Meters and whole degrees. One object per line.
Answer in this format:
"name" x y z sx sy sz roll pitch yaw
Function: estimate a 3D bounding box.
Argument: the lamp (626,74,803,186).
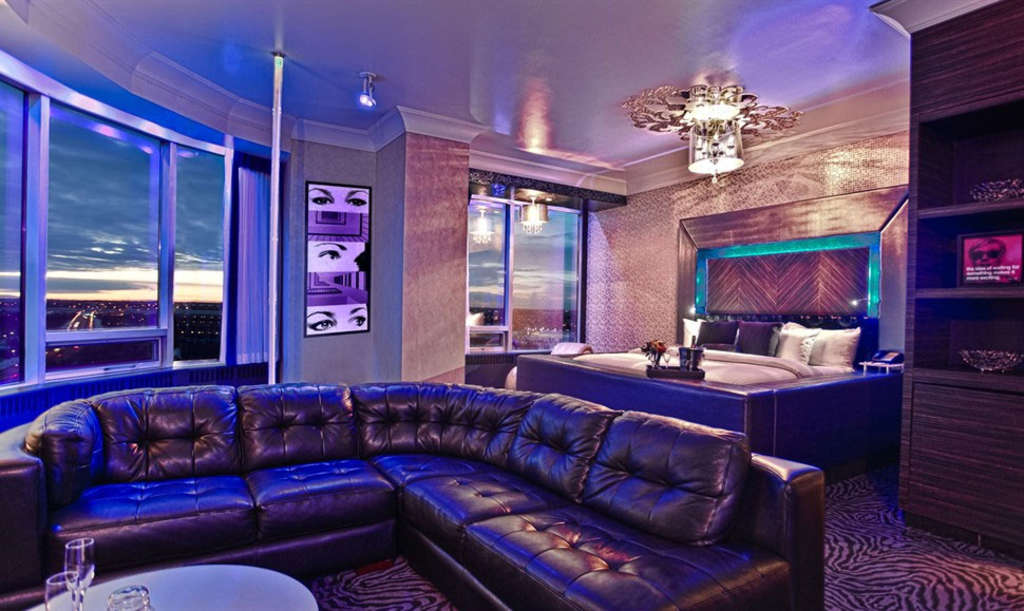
"lamp" 2.110 -1.840 6.632 1.761 1.009 0.823 -3 -1 7

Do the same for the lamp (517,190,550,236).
"lamp" 0.329 -1.365 9.274 0.542 0.658 0.461 1 -6 2

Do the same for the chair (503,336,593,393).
"chair" 0.488 0.814 8.452 0.852 0.648 0.837 3 -7 -19
